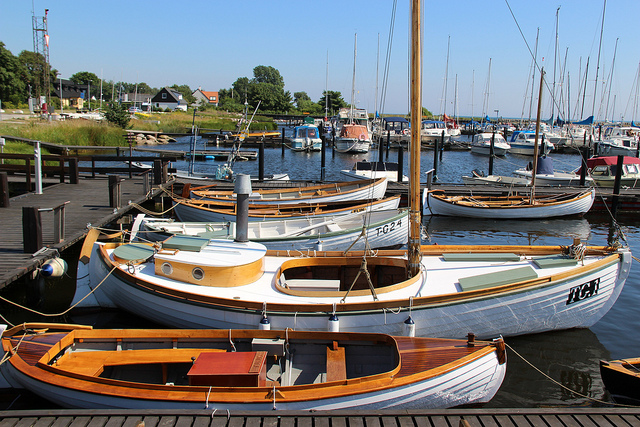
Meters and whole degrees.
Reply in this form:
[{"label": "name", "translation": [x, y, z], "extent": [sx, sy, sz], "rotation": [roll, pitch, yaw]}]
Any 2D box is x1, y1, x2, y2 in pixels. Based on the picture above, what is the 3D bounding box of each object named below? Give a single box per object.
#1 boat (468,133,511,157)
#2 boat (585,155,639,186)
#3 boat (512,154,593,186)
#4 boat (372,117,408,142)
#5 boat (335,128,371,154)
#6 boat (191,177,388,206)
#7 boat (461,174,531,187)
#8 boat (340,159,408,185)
[{"label": "boat", "translation": [16.069, -6.598, 57.863], "extent": [2.492, 1.818, 6.598], "rotation": [-2, 9, -4]}, {"label": "boat", "translation": [15.911, -2.364, 33.264], "extent": [2.180, 1.036, 3.533], "rotation": [-2, 9, -5]}, {"label": "boat", "translation": [12.944, -2.283, 33.339], "extent": [1.981, 1.562, 4.257], "rotation": [-16, 19, -39]}, {"label": "boat", "translation": [9.084, -10.224, 73.201], "extent": [4.973, 2.663, 9.683], "rotation": [2, 15, 2]}, {"label": "boat", "translation": [2.787, -7.234, 57.643], "extent": [3.747, 2.089, 5.896], "rotation": [-3, 12, -13]}, {"label": "boat", "translation": [-0.347, -0.809, 24.562], "extent": [6.545, 1.002, 1.419], "rotation": [-3, 10, 13]}, {"label": "boat", "translation": [9.526, -1.760, 32.532], "extent": [2.941, 0.464, 0.754], "rotation": [5, 44, 6]}, {"label": "boat", "translation": [2.801, -2.296, 32.513], "extent": [2.926, 0.940, 1.560], "rotation": [-1, 18, -6]}]
